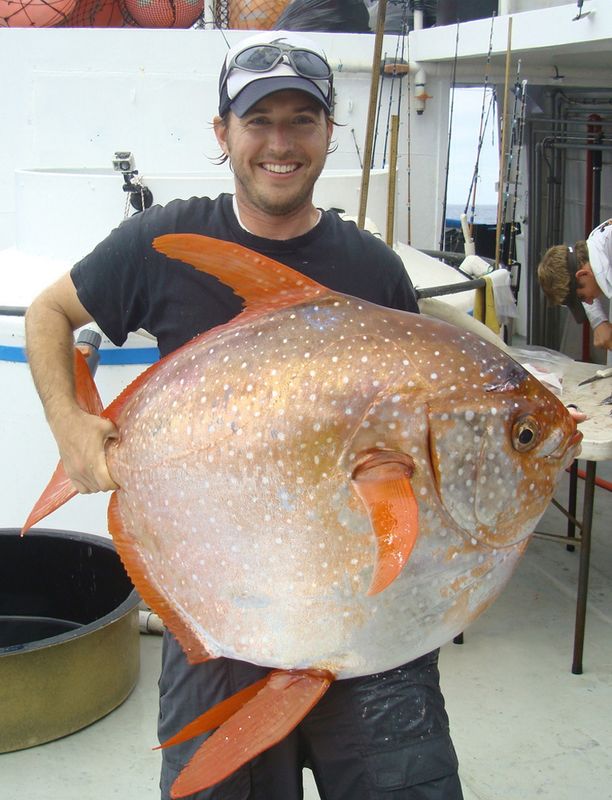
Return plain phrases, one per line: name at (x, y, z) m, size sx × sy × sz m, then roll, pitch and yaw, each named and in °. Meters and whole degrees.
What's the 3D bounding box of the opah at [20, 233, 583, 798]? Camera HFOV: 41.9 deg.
opah at (-0.024, 0.141, 1.130) m, size 0.714 × 0.732 × 0.425 m, roll 5°, pitch 16°, yaw 20°
